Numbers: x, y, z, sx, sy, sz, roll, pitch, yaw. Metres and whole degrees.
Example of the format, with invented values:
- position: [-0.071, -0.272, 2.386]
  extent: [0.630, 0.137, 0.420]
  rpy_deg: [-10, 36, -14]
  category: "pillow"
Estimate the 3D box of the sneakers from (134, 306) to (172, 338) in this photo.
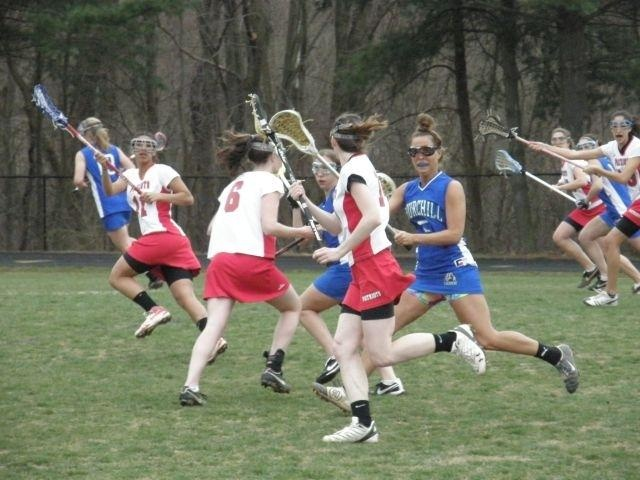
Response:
- position: [-2.139, 1.068, 11.503]
  extent: [0.481, 0.164, 0.233]
  rpy_deg: [-37, 42, -16]
  category: "sneakers"

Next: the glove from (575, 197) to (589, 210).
- position: [4.167, -0.564, 14.259]
  extent: [0.144, 0.132, 0.184]
  rpy_deg: [-1, 5, -3]
  category: "glove"

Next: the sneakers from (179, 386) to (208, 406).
- position: [-1.359, 1.721, 9.826]
  extent: [0.153, 0.148, 0.322]
  rpy_deg: [-8, -14, 40]
  category: "sneakers"

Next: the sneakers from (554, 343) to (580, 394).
- position: [2.765, 1.437, 10.145]
  extent: [0.288, 0.569, 0.214]
  rpy_deg: [-11, -9, -30]
  category: "sneakers"

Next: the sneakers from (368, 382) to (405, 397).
- position: [0.779, 1.684, 10.180]
  extent: [0.455, 0.183, 0.144]
  rpy_deg: [1, 2, 7]
  category: "sneakers"
